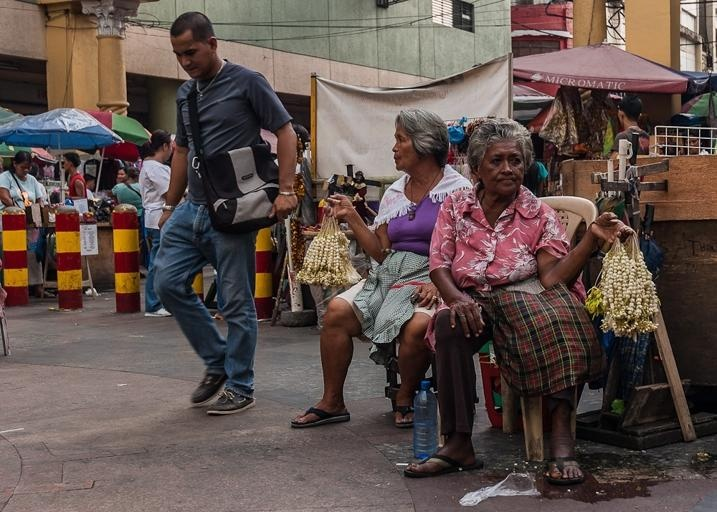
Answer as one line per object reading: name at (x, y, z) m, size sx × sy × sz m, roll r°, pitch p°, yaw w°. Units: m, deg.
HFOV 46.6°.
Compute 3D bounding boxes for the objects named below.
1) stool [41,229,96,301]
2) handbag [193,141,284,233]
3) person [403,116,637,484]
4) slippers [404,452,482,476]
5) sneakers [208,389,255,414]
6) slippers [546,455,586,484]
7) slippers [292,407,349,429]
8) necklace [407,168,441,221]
stool at (-4.406, 0.179, 12.786) m, size 0.815 × 1.009 × 0.785 m, roll 2°, pitch -20°, yaw -29°
handbag at (-0.814, -0.470, 5.649) m, size 0.581 × 0.514 × 0.287 m, roll -11°, pitch -10°, yaw -30°
person at (0.843, 0.382, 4.632) m, size 1.024 × 1.603 × 0.662 m, roll 0°, pitch 7°, yaw 15°
slippers at (0.451, 1.139, 4.623) m, size 0.390 × 0.085 × 0.134 m, roll 1°, pitch -4°, yaw -14°
sneakers at (-0.846, 0.989, 5.617) m, size 0.336 × 0.115 × 0.119 m, roll 2°, pitch -9°, yaw -38°
slippers at (1.096, 1.140, 4.496) m, size 0.203 × 0.122 × 0.212 m, roll -1°, pitch 6°, yaw 12°
slippers at (-0.242, 1.046, 5.420) m, size 0.356 × 0.090 × 0.127 m, roll 1°, pitch -4°, yaw -21°
necklace at (0.426, -0.397, 5.402) m, size 0.249 × 0.349 × 0.117 m, roll 0°, pitch -8°, yaw 16°
